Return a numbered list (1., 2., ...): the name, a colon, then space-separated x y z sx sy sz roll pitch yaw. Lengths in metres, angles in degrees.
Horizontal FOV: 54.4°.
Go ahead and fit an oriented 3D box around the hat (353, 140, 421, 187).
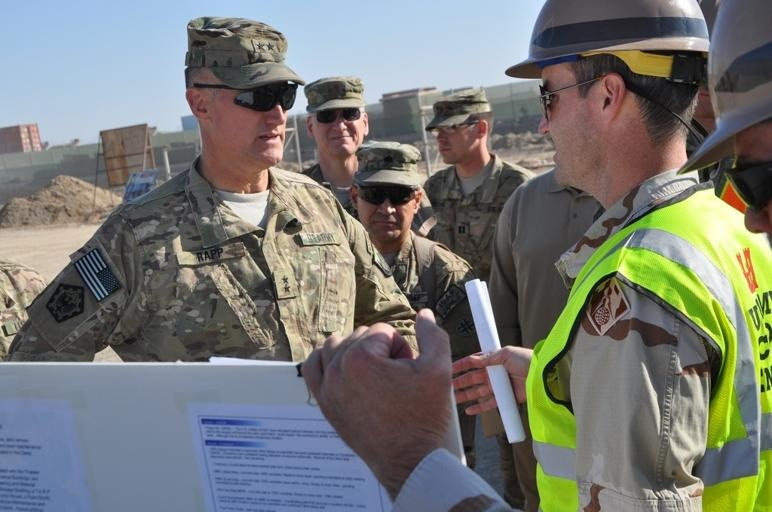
1. hat: -0.007 -0.671 5.510 0.466 0.218 0.658 1 11 -1
